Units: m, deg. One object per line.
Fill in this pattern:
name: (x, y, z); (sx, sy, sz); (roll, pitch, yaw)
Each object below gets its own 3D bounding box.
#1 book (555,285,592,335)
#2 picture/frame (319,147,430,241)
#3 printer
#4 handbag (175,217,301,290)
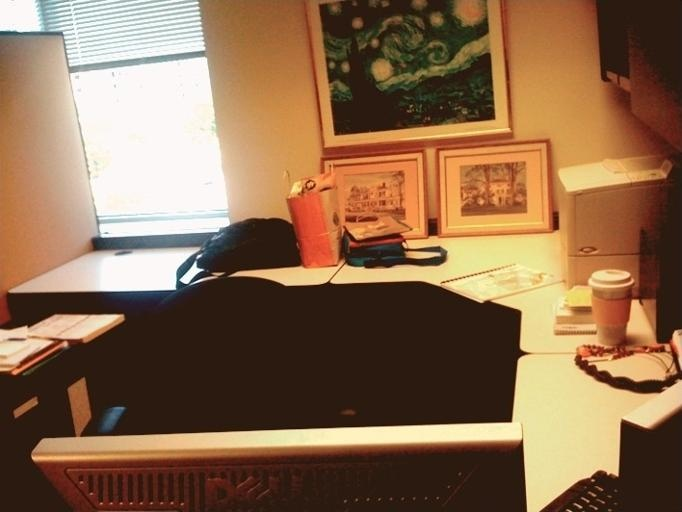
book: (0.695, 0.172, 1.644); (0.109, 0.141, 0.110); (-9, -14, 24)
picture/frame: (0.188, -0.297, 2.708); (0.505, 0.414, 0.040); (0, 8, 12)
printer: (0.873, -0.123, 2.057); (0.452, 0.602, 0.448); (3, 19, 17)
handbag: (-0.474, -0.041, 2.607); (0.458, 0.149, 0.348); (-8, 17, 1)
